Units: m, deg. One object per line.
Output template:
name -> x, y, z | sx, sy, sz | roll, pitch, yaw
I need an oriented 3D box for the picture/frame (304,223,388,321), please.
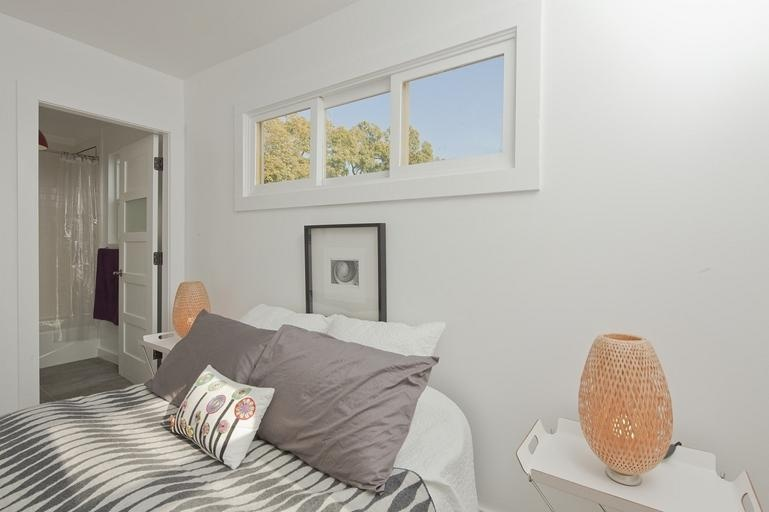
picture/frame -> -0.240, 0.117, 3.195 | 0.641, 0.767, 0.061 | 0, 2, 32

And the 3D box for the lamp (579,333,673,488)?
lamp -> 1.087, 0.675, 2.160 | 0.372, 0.579, 0.182 | 2, 8, 28
